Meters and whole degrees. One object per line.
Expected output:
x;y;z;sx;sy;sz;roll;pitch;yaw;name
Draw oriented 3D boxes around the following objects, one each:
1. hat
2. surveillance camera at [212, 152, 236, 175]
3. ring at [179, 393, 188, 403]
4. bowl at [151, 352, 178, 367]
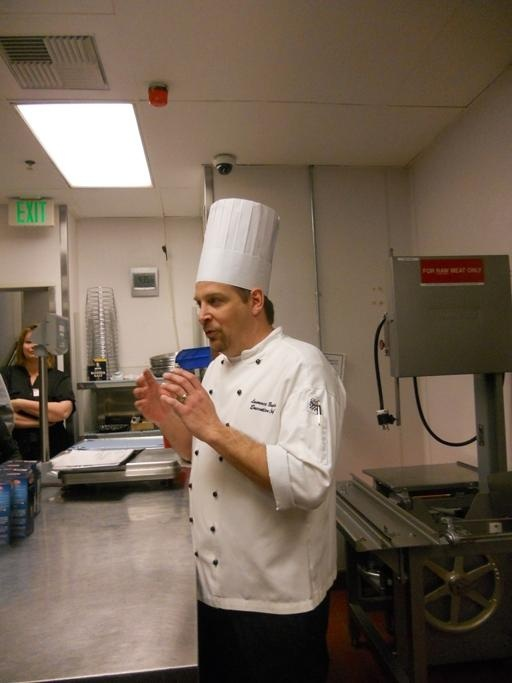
-0.036;-0.254;1.572;0.199;0.215;0.194;11;3;-13;hat
-0.169;-0.944;3.011;0.098;0.069;0.095;-6;-33;6;surveillance camera
-0.148;0.116;1.150;0.018;0.017;0.013;-4;-11;21;ring
-0.568;0.111;3.537;0.144;0.051;0.142;-2;6;0;bowl
